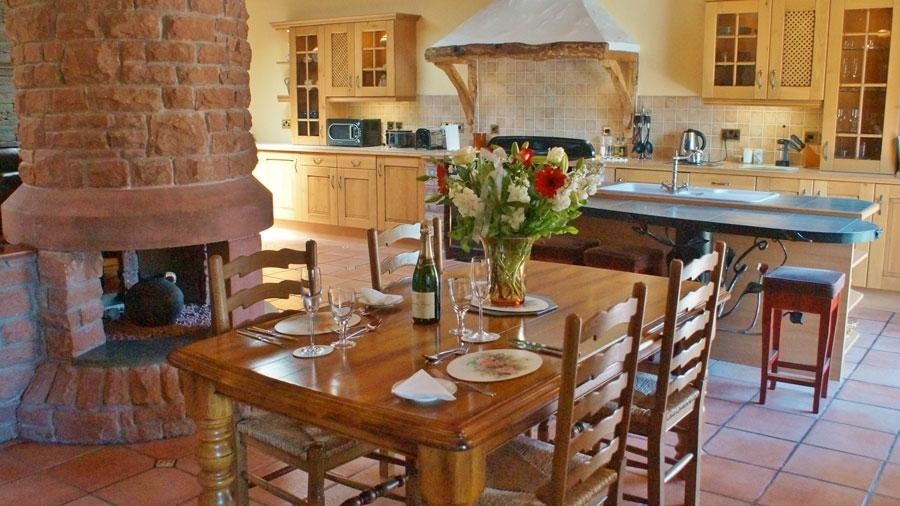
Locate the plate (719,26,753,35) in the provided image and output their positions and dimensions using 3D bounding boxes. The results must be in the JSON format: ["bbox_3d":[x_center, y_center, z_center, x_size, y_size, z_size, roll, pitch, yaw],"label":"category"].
[{"bbox_3d":[2.958,-2.307,6.667,0.164,0.034,0.158,0,7,1],"label":"plate"}]

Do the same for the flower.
[{"bbox_3d":[0.307,-0.127,3.609,0.919,0.797,0.665,9,2,14],"label":"flower"}]

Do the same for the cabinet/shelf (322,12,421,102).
[{"bbox_3d":[-1.100,-2.595,8.728,1.452,1.095,0.548,12,18,38],"label":"cabinet/shelf"}]

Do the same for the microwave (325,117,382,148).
[{"bbox_3d":[-1.287,-1.632,8.749,0.632,0.351,0.453,3,6,28],"label":"microwave"}]

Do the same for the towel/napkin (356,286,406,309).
[{"bbox_3d":[-0.404,0.249,3.544,0.162,0.047,0.140,5,11,24],"label":"towel/napkin"}]

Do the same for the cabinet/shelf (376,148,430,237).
[{"bbox_3d":[-0.474,-0.789,8.321,0.730,0.949,0.742,8,13,40],"label":"cabinet/shelf"}]

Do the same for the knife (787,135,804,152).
[{"bbox_3d":[3.678,-1.174,6.802,0.159,0.160,0.079,7,17,24],"label":"knife"}]

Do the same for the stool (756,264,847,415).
[{"bbox_3d":[2.514,0.561,4.667,0.538,0.948,0.717,9,18,30],"label":"stool"}]

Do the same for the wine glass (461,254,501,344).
[{"bbox_3d":[0.157,0.211,3.278,0.252,0.431,0.246,1,-1,-35],"label":"wine glass"}]

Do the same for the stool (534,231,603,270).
[{"bbox_3d":[0.962,-0.059,5.395,0.310,0.399,0.328,8,16,31],"label":"stool"}]

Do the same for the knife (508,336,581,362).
[{"bbox_3d":[0.443,0.459,3.095,0.393,0.038,0.084,11,21,38],"label":"knife"}]

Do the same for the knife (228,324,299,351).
[{"bbox_3d":[-0.925,0.418,3.222,0.353,0.032,0.110,11,18,37],"label":"knife"}]

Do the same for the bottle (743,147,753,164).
[{"bbox_3d":[3.243,-1.056,6.974,0.107,0.149,0.139,3,16,9],"label":"bottle"}]

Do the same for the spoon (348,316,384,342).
[{"bbox_3d":[-0.433,0.389,3.287,0.057,0.039,0.277,11,16,17],"label":"spoon"}]

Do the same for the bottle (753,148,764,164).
[{"bbox_3d":[3.349,-1.054,6.962,0.130,0.139,0.162,7,1,25],"label":"bottle"}]

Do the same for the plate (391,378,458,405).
[{"bbox_3d":[-0.113,0.591,2.810,0.274,0.087,0.132,0,15,-2],"label":"plate"}]

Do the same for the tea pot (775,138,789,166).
[{"bbox_3d":[3.550,-1.080,6.825,0.148,0.275,0.192,7,17,24],"label":"tea pot"}]

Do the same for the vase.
[{"bbox_3d":[0.214,0.092,3.522,0.397,0.380,0.366,-3,7,-26],"label":"vase"}]
